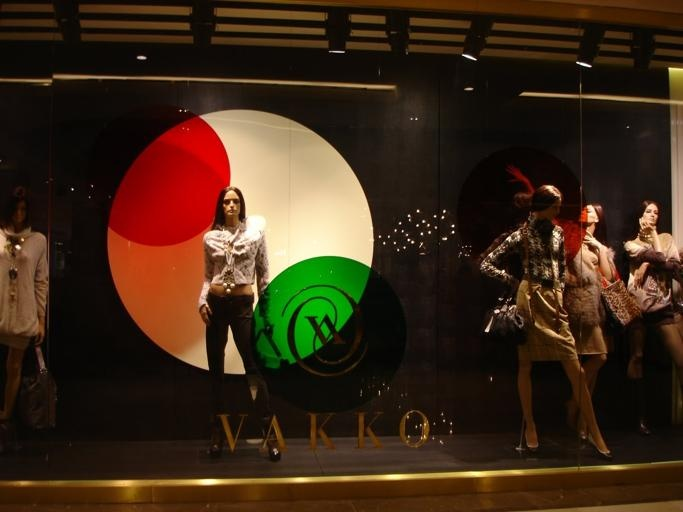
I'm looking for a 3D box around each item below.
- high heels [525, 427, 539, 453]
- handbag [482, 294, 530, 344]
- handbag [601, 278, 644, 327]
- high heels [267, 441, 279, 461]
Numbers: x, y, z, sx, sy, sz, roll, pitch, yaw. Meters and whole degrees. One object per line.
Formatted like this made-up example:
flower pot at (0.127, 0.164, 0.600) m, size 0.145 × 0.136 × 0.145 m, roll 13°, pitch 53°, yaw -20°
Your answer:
high heels at (1.475, 1.433, 4.946) m, size 0.082 × 0.205 × 0.045 m, roll -5°, pitch 1°, yaw 2°
handbag at (1.266, 0.507, 4.998) m, size 0.323 × 0.150 × 0.407 m, roll 7°, pitch 8°, yaw 33°
handbag at (2.207, 0.365, 5.090) m, size 0.289 × 0.367 × 0.113 m, roll -35°, pitch 9°, yaw -14°
high heels at (-0.515, 1.463, 4.767) m, size 0.079 × 0.142 × 0.072 m, roll -11°, pitch -15°, yaw -13°
